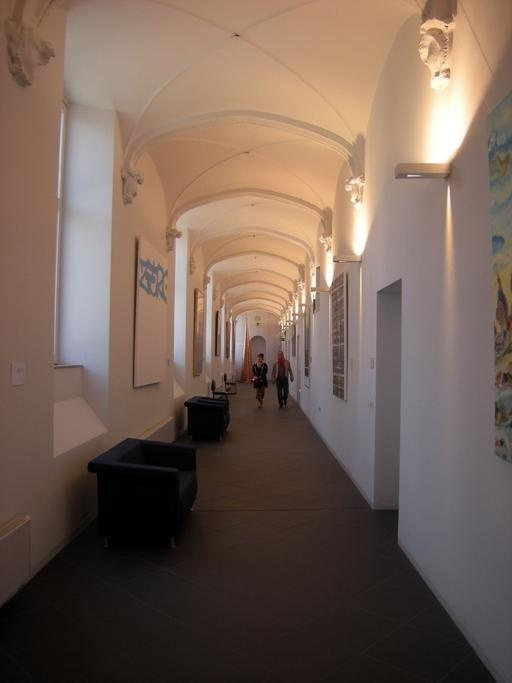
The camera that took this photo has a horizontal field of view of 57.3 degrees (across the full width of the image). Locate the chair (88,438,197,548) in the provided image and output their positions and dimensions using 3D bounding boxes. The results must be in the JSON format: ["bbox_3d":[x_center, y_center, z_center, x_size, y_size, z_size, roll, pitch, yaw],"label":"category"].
[{"bbox_3d":[-0.934,1.291,4.228,0.706,0.685,1.233,0,-2,1],"label":"chair"}]

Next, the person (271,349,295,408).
[{"bbox_3d":[0.783,1.141,13.703,0.378,1.731,0.411,-1,-23,0],"label":"person"}]

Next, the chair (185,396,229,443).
[{"bbox_3d":[-0.899,1.403,8.829,0.491,0.757,0.845,-1,4,0],"label":"chair"}]
